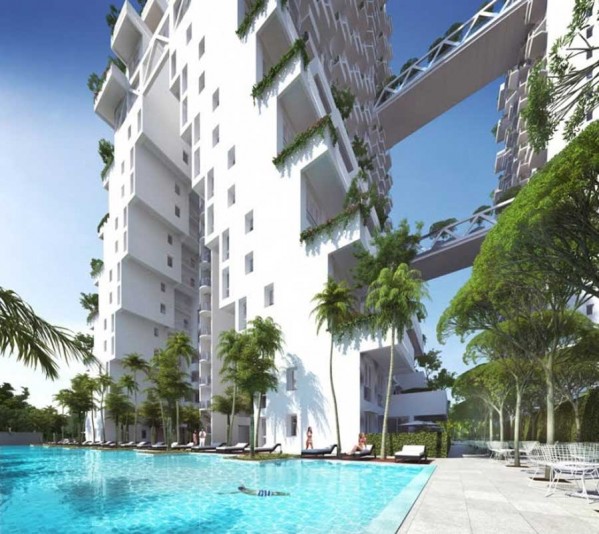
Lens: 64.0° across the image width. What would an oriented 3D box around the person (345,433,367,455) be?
[{"bbox_3d":[3.500,10.489,28.423,0.855,1.369,3.185,-4,-25,10],"label":"person"}]
